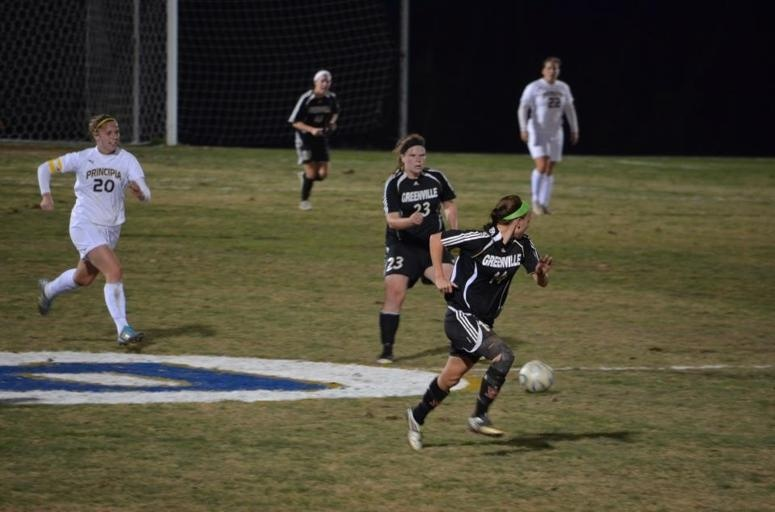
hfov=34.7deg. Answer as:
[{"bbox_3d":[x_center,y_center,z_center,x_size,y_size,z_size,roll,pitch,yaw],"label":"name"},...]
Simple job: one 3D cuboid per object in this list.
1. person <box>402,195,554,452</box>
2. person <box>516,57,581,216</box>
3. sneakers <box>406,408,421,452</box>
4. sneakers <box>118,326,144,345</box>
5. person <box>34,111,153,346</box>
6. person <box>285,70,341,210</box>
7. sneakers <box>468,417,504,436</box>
[{"bbox_3d":[0.988,0.679,13.427,1.431,2.687,1.024,3,10,-1],"label":"person"},{"bbox_3d":[2.837,-2.154,22.149,1.070,2.763,1.365,4,10,6],"label":"person"},{"bbox_3d":[0.283,1.839,13.200,0.165,0.426,0.163,4,10,2],"label":"sneakers"},{"bbox_3d":[-3.153,0.971,15.057,0.193,0.158,0.388,-9,10,-43],"label":"sneakers"},{"bbox_3d":[-3.687,-0.354,15.458,1.309,2.810,1.492,1,10,-14],"label":"person"},{"bbox_3d":[-1.349,-2.020,21.593,0.720,2.401,1.050,5,10,7],"label":"person"},{"bbox_3d":[1.092,1.827,13.344,0.470,0.143,0.154,5,4,27],"label":"sneakers"}]
